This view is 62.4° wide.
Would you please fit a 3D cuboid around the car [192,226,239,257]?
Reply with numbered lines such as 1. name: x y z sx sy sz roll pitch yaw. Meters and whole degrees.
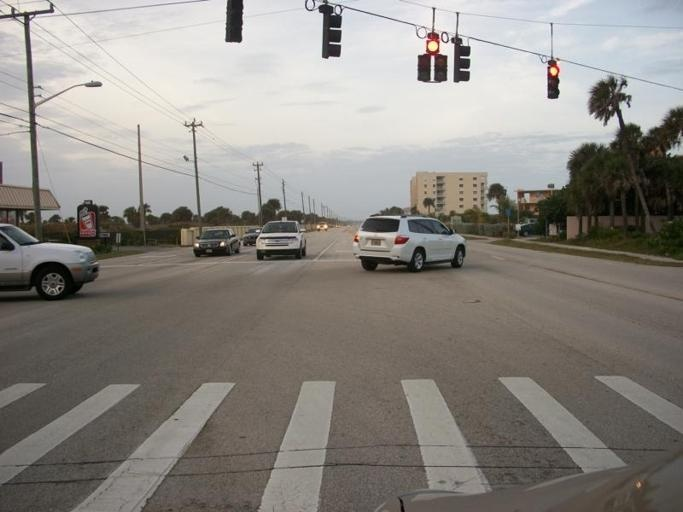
1. car: -7.777 -0.967 35.739 2.136 1.673 3.203 0 5 9

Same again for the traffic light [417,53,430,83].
1. traffic light: 2.559 -5.808 17.339 0.367 0.870 0.328 -1 4 -2

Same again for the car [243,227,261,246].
1. car: -8.492 -1.821 52.938 1.541 1.738 3.717 -1 2 -3

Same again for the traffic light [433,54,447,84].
1. traffic light: 3.031 -5.789 17.292 0.367 0.890 0.455 0 4 6

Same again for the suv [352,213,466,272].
1. suv: 2.721 -0.595 21.157 1.909 1.809 4.048 2 6 40

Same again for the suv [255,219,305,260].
1. suv: -3.141 -0.854 29.454 2.234 1.901 2.634 -1 5 3

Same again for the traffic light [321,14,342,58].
1. traffic light: -0.250 -5.928 15.113 0.464 1.375 1.076 -1 5 -3

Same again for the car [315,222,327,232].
1. car: -4.581 -7.127 129.394 1.856 1.744 3.249 -1 -2 0

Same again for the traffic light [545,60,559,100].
1. traffic light: 7.112 -6.009 18.935 0.327 1.366 0.777 1 5 18

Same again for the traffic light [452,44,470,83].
1. traffic light: 3.764 -6.189 17.570 0.464 1.385 1.065 0 5 10
